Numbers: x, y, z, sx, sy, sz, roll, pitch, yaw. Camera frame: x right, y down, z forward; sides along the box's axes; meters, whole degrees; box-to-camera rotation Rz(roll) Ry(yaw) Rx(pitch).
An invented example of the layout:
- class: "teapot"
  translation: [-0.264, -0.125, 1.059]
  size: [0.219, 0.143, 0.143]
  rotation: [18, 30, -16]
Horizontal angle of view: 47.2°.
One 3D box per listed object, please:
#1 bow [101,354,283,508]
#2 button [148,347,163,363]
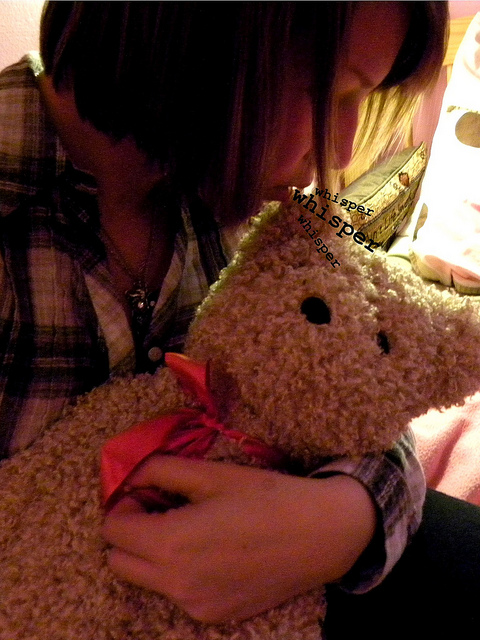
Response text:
- class: "bow"
  translation: [-0.050, 0.099, 0.529]
  size: [0.137, 0.074, 0.134]
  rotation: [-37, 88, -17]
- class: "button"
  translation: [-0.099, 0.041, 0.646]
  size: [0.016, 0.016, 0.004]
  rotation: [5, 4, -20]
